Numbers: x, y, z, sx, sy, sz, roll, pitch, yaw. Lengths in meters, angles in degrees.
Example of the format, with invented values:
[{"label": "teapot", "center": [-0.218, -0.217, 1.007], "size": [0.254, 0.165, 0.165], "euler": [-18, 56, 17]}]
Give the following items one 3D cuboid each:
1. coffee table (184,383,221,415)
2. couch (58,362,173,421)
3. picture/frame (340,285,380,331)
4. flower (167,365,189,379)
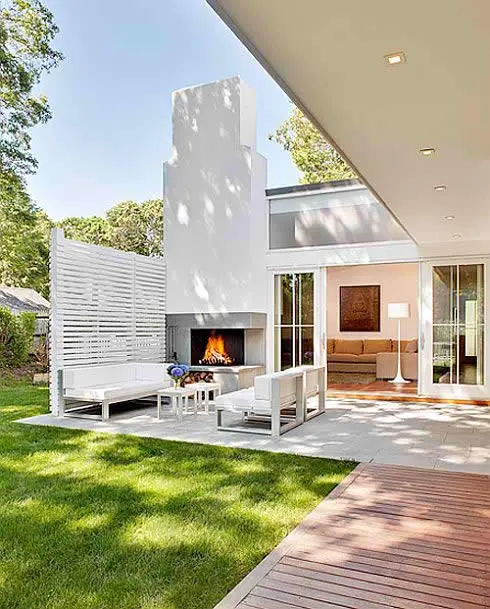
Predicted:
[{"label": "coffee table", "center": [-0.622, 1.432, 7.302], "size": [0.613, 0.597, 0.608], "euler": [-1, -3, -29]}, {"label": "couch", "center": [-2.030, 1.299, 7.074], "size": [1.047, 0.711, 1.498], "euler": [-2, -5, 26]}, {"label": "picture/frame", "center": [3.422, 0.118, 13.451], "size": [1.292, 1.557, 0.100], "euler": [-1, -5, 31]}, {"label": "flower", "center": [-1.007, 0.973, 6.739], "size": [0.252, 0.128, 0.254], "euler": [2, -1, -13]}]
